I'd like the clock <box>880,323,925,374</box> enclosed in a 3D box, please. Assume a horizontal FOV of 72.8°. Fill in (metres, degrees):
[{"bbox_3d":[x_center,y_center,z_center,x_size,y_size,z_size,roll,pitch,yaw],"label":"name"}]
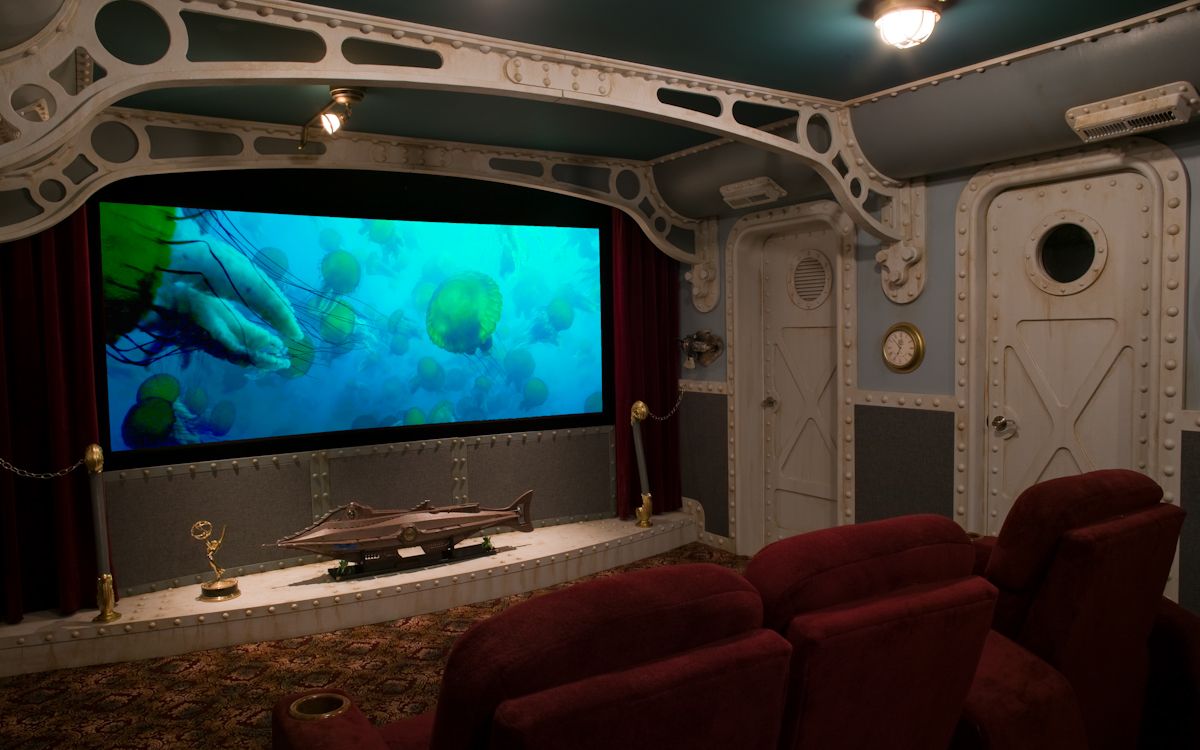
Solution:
[{"bbox_3d":[2.320,-0.210,6.200,0.071,0.413,0.365,4,-6,-37],"label":"clock"}]
